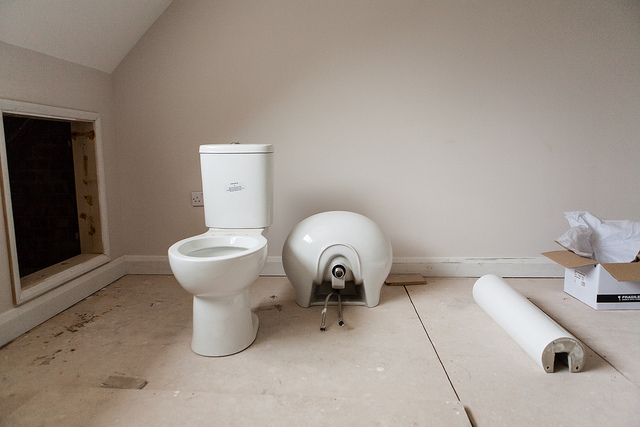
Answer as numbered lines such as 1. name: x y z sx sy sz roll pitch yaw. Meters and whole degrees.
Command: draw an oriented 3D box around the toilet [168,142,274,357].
1. toilet: -0.588 0.182 2.757 0.597 1.227 0.727 -1 10 -4
